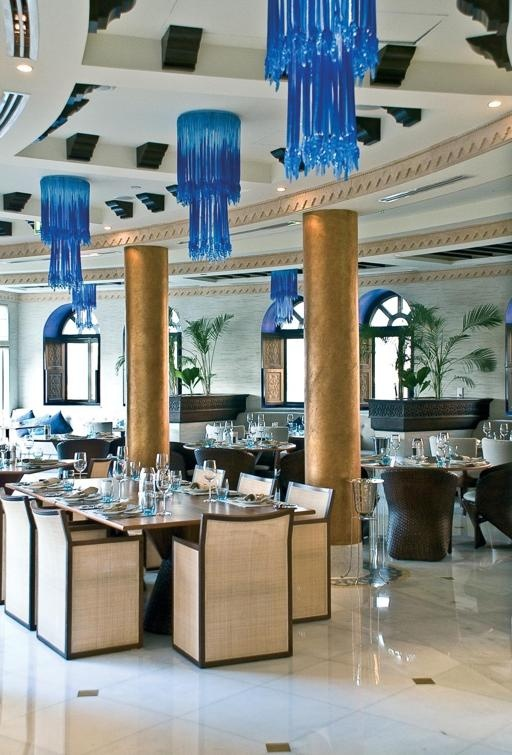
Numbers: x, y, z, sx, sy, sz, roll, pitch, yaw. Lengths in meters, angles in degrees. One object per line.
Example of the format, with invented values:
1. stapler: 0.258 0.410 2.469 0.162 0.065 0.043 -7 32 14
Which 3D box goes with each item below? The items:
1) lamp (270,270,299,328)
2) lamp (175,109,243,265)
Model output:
1. lamp: 0.445 -1.299 10.564 0.394 0.835 0.547 -1 -5 2
2. lamp: -0.366 -1.529 5.013 0.502 1.141 0.425 0 -5 -7
